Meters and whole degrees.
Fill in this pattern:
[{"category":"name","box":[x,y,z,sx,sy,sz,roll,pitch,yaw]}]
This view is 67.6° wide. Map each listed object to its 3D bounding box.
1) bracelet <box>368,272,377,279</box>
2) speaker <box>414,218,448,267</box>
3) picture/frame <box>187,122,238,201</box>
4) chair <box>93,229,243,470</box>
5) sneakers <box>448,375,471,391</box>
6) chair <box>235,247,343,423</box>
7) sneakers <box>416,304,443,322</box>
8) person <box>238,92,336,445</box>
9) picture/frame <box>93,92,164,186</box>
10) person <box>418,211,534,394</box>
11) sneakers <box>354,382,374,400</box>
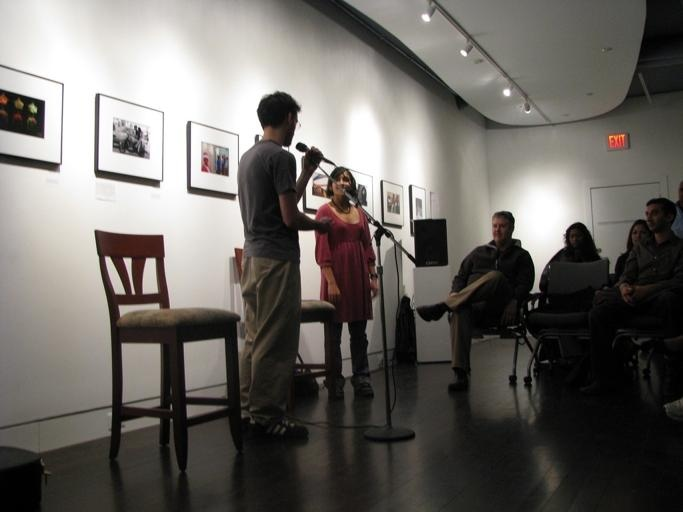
[{"category":"bracelet","box":[0.303,0.187,4.924,0.052,0.048,0.074,-2,0,-21]},{"category":"speaker","box":[1.221,-0.058,6.993,0.472,0.775,0.441,2,-36,5]},{"category":"picture/frame","box":[-1.152,-0.821,4.478,0.058,0.691,0.604,-4,-5,34]},{"category":"chair","box":[-1.153,0.530,3.237,1.071,1.392,0.702,-3,-3,41]},{"category":"sneakers","box":[1.082,1.187,4.695,0.085,0.143,0.286,-7,-18,30]},{"category":"chair","box":[-0.322,0.464,3.562,0.688,1.168,0.698,-11,-3,41]},{"category":"sneakers","box":[0.852,0.529,4.818,0.247,0.174,0.219,-2,-2,11]},{"category":"person","box":[-0.403,0.044,3.397,0.629,2.291,0.368,-1,-2,3]},{"category":"picture/frame","box":[-1.654,-0.889,3.912,0.060,0.750,0.625,-3,-5,40]},{"category":"person","box":[1.388,0.348,5.087,0.723,1.956,0.958,-1,-21,45]},{"category":"sneakers","box":[0.197,1.189,4.524,0.177,0.109,0.329,-2,-2,1]}]
